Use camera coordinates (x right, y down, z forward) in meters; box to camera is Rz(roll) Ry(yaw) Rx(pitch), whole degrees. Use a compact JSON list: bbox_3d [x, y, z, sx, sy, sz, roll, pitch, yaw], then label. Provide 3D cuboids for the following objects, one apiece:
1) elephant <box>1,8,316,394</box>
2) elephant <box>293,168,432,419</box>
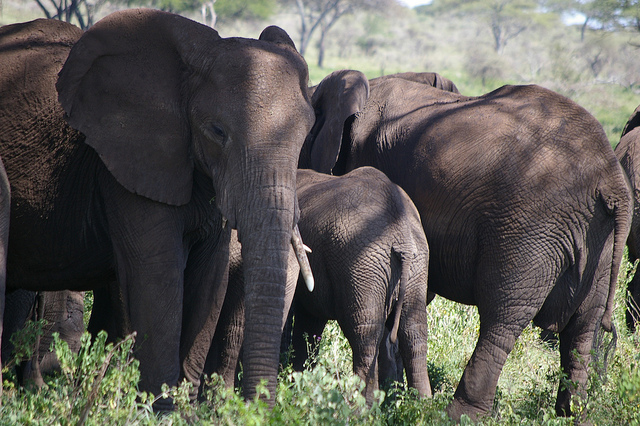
[{"bbox_3d":[-1.072,-0.104,5.059,2.075,2.469,1.183,7,-8,-2],"label":"elephant"},{"bbox_3d":[0.328,0.516,5.680,1.055,1.688,0.520,5,-8,9],"label":"elephant"}]
